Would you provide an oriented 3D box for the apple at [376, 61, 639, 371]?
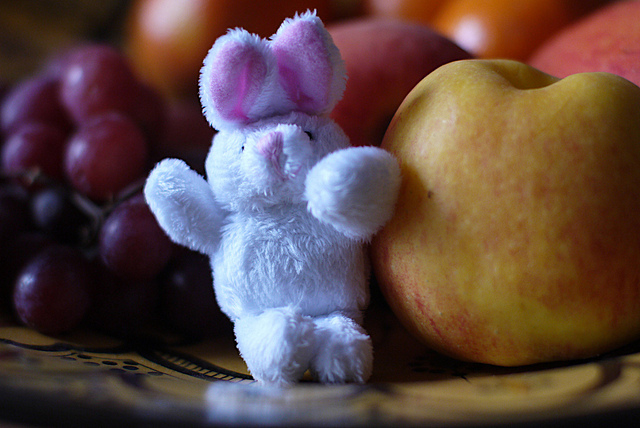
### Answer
[{"bbox_3d":[0.188,0.021,0.865,0.270,0.291,0.299,-22,46,10],"label":"apple"}]

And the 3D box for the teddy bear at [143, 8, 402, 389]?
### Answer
[{"bbox_3d":[-0.052,-0.004,0.788,0.225,0.417,0.198,-2,18,-10],"label":"teddy bear"}]

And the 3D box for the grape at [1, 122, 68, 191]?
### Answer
[{"bbox_3d":[-0.348,-0.072,0.940,0.076,0.056,0.066,-1,48,0],"label":"grape"}]
